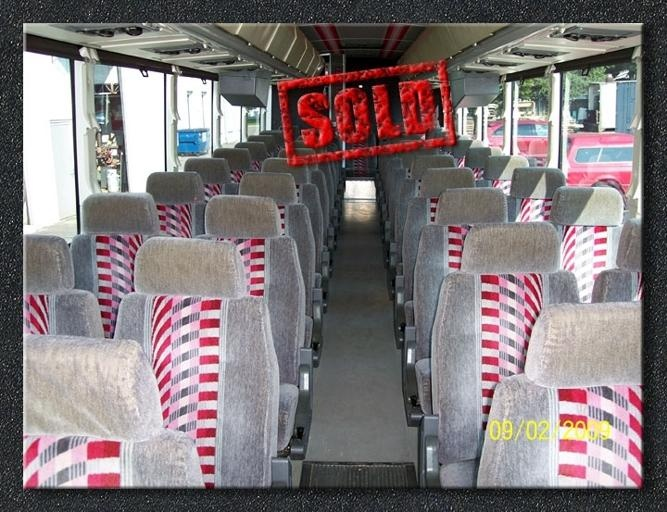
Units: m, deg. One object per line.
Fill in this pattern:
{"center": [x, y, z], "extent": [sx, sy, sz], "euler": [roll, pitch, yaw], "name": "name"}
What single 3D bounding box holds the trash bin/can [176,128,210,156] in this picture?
{"center": [-1.583, -1.282, 7.594], "extent": [0.130, 0.361, 0.581], "euler": [4, 6, 16], "name": "trash bin/can"}
